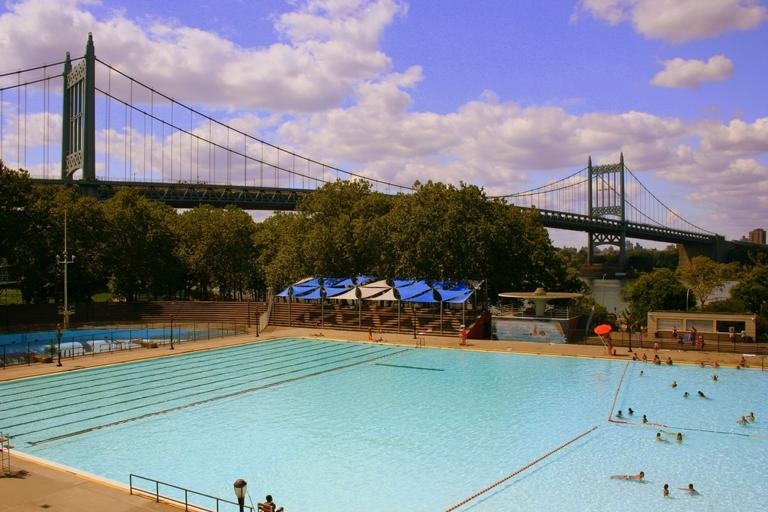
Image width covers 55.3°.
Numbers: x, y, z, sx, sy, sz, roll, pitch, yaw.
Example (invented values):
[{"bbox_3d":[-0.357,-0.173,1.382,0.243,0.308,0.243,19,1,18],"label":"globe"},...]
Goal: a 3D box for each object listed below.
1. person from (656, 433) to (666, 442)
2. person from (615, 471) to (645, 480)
[{"bbox_3d":[15.959,11.207,45.774,0.504,0.325,0.756,3,14,14],"label":"person"},{"bbox_3d":[13.140,12.685,42.308,1.148,0.449,0.665,-3,1,16],"label":"person"}]
